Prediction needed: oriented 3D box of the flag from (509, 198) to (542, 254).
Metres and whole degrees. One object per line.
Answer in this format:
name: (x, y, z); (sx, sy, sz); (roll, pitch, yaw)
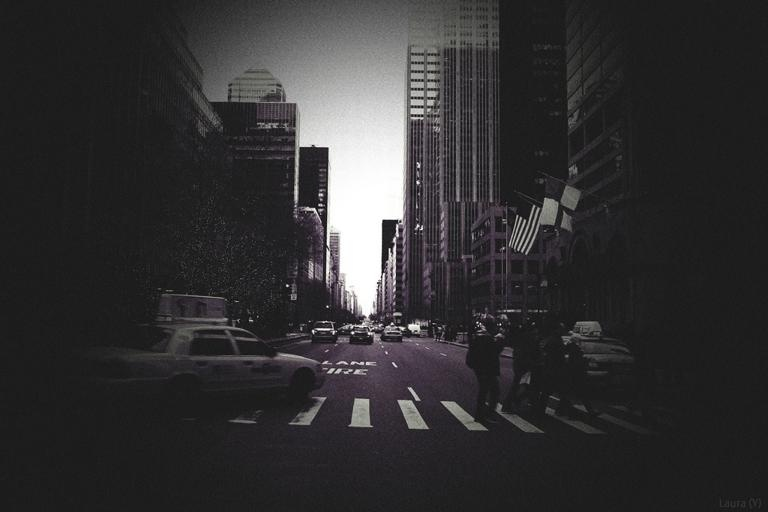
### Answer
flag: (10.749, -1.778, 49.880); (1.994, 4.265, 10.428); (2, 7, 11)

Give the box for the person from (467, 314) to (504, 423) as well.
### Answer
person: (2.576, 2.876, 16.537); (0.972, 2.476, 0.729); (-4, 8, -29)

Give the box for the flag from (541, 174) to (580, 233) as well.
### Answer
flag: (10.896, -3.176, 41.004); (1.842, 3.611, 7.195); (2, 7, 14)
